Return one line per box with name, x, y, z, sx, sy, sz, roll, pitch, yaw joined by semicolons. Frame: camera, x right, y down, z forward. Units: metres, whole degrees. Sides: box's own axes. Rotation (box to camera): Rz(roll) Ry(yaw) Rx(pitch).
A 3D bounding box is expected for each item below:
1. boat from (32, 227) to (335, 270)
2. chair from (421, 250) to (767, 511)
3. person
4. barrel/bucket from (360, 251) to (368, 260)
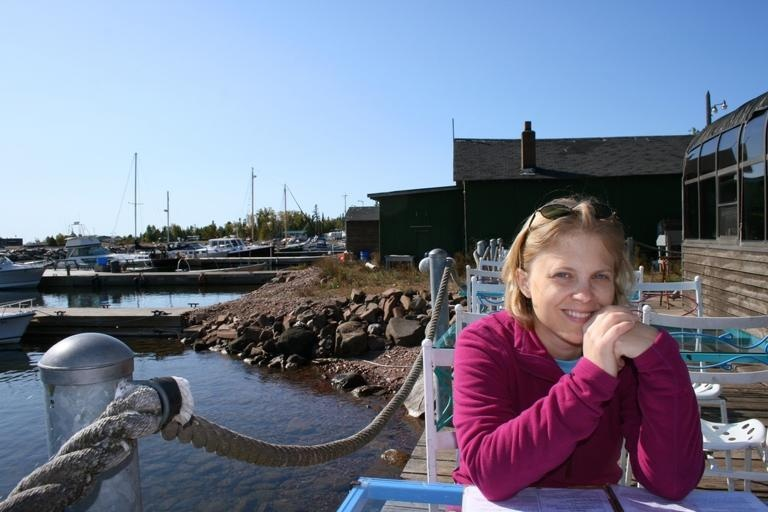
boat;-13.337;-0.406;41.169;17.130;2.196;15.580;0;1;-4
chair;0.883;0.557;2.670;0.901;1.082;1.003;1;-5;-5
person;0.855;0.517;2.725;0.979;1.533;0.921;2;-3;-8
barrel/bucket;-0.977;-0.102;29.308;0.421;0.381;0.407;0;0;0
